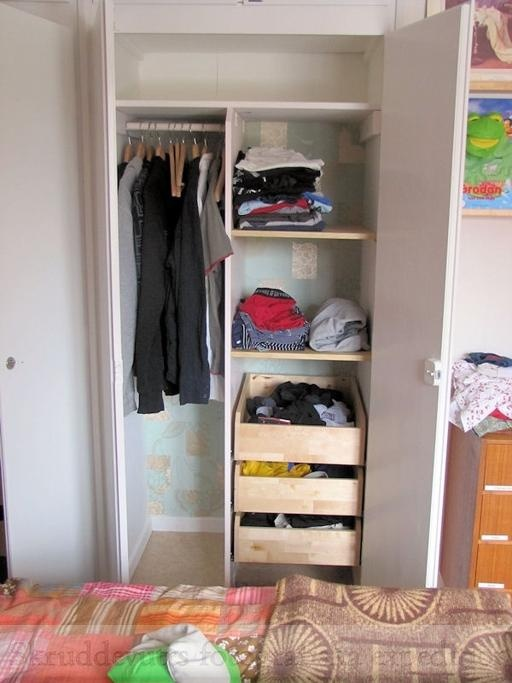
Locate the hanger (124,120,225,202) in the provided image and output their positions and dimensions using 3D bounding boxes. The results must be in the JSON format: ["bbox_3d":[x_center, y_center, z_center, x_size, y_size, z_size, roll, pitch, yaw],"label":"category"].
[{"bbox_3d":[-0.350,-0.653,2.242,0.297,0.377,0.141,1,3,-1],"label":"hanger"}]

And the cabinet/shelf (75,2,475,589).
[{"bbox_3d":[0.136,-0.093,2.229,1.272,2.176,0.821,6,13,25],"label":"cabinet/shelf"}]
